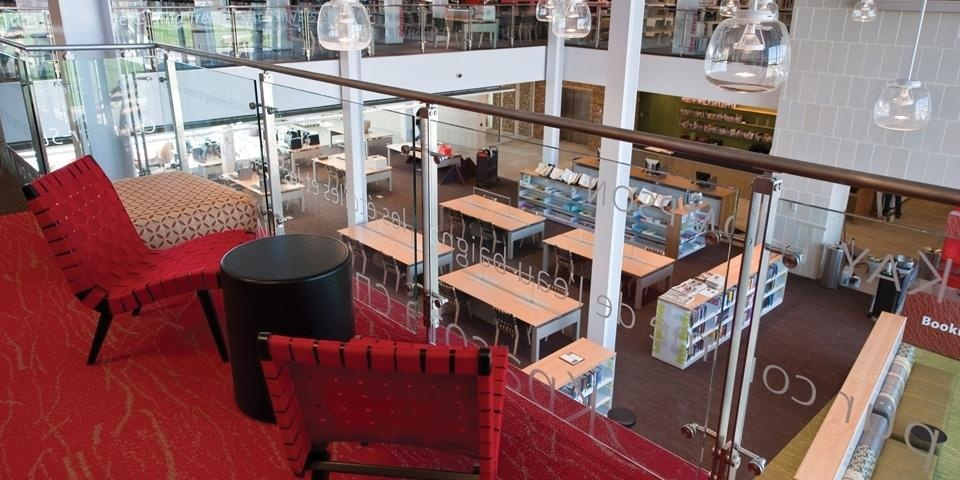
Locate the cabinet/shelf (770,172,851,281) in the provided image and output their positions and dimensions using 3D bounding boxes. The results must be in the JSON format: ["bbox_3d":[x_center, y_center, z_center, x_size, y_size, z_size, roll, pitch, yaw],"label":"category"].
[{"bbox_3d":[1.699,-0.034,3.094,0.235,0.362,0.214,17,-6,39],"label":"cabinet/shelf"}]

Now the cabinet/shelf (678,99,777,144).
[{"bbox_3d":[7.848,-3.786,18.917,3.025,1.254,0.423,21,32,38],"label":"cabinet/shelf"}]

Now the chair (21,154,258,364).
[{"bbox_3d":[-2.440,0.105,4.483,1.482,1.123,0.926,4,22,-14],"label":"chair"}]

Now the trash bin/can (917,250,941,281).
[{"bbox_3d":[2.224,0.122,2.898,0.091,0.141,0.081,14,28,26],"label":"trash bin/can"}]

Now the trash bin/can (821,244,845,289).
[{"bbox_3d":[1.762,0.134,2.932,0.105,0.193,0.137,15,28,27],"label":"trash bin/can"}]

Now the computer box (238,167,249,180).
[{"bbox_3d":[-2.130,-0.607,5.262,0.098,0.089,0.072,17,24,36],"label":"computer box"}]
